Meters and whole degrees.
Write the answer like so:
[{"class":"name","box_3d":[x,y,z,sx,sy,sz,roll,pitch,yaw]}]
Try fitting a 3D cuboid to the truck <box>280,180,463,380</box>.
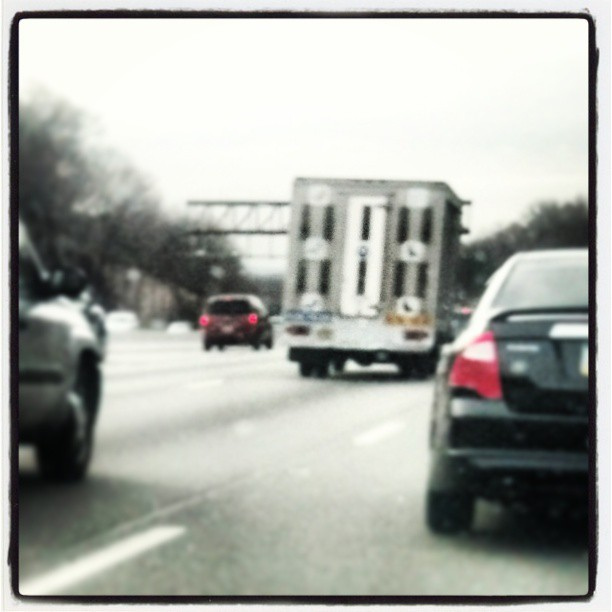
[{"class":"truck","box_3d":[0.466,-0.244,6.366,1.047,1.468,2.026,3,6,5]}]
